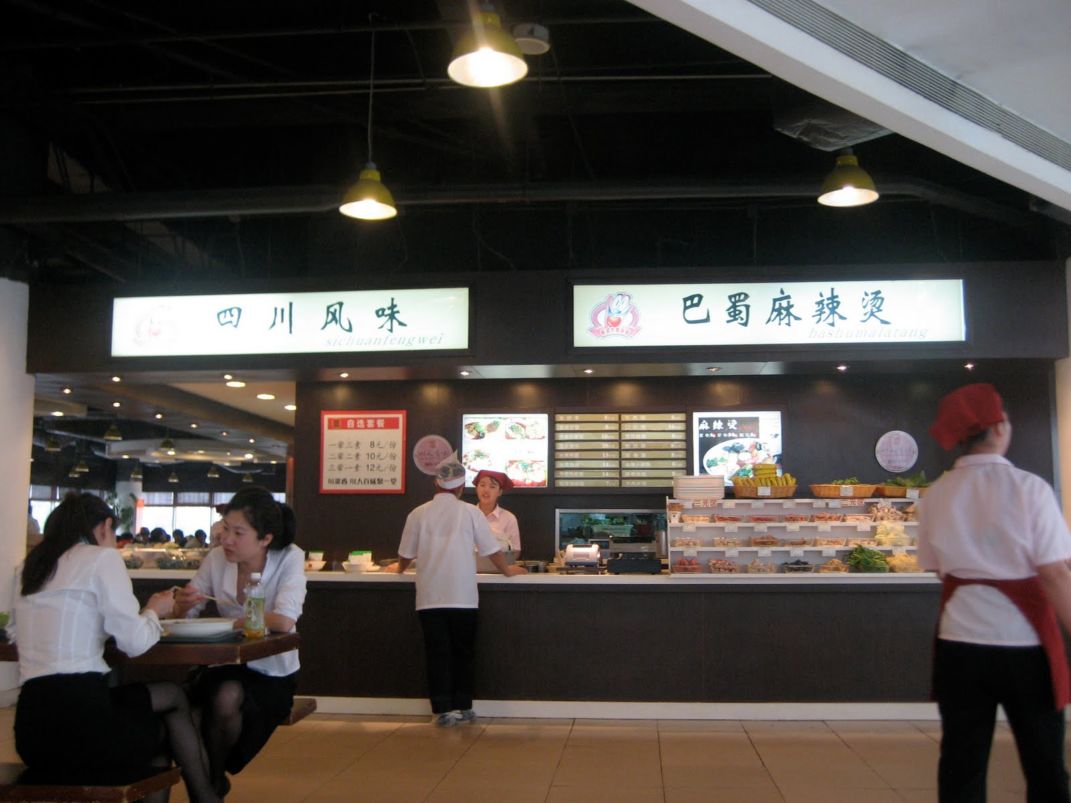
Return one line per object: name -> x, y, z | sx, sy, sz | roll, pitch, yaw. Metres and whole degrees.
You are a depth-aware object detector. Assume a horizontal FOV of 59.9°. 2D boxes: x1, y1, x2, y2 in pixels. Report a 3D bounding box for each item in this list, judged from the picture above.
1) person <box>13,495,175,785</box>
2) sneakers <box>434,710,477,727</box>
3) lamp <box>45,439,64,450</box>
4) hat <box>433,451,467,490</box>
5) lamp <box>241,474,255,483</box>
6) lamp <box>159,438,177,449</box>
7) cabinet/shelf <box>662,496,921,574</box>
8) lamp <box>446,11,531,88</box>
person -> -1.997, 1.024, 4.123 | 0.614, 1.209, 0.352 | 0, 0, 0
sneakers -> -0.553, 2.221, 6.513 | 0.285, 0.119, 0.099 | 8, -12, -18
lamp -> -8.676, 0.774, 16.801 | 0.287, 0.098, 0.280 | 2, -23, -21
hat -> -0.644, 0.550, 7.032 | 0.195, 0.203, 0.281 | 2, -6, -1
lamp -> -7.420, 2.018, 24.137 | 0.311, 0.246, 0.452 | -4, 8, -39
lamp -> -6.212, 0.752, 15.733 | 0.298, 0.196, 0.295 | -1, -4, -8
cabinet/shelf -> 1.888, 0.986, 6.844 | 1.812, 0.470, 0.314 | 0, 0, 4
lamp -> -0.277, -1.899, 5.173 | 0.363, 0.396, 0.386 | -2, -2, 23
